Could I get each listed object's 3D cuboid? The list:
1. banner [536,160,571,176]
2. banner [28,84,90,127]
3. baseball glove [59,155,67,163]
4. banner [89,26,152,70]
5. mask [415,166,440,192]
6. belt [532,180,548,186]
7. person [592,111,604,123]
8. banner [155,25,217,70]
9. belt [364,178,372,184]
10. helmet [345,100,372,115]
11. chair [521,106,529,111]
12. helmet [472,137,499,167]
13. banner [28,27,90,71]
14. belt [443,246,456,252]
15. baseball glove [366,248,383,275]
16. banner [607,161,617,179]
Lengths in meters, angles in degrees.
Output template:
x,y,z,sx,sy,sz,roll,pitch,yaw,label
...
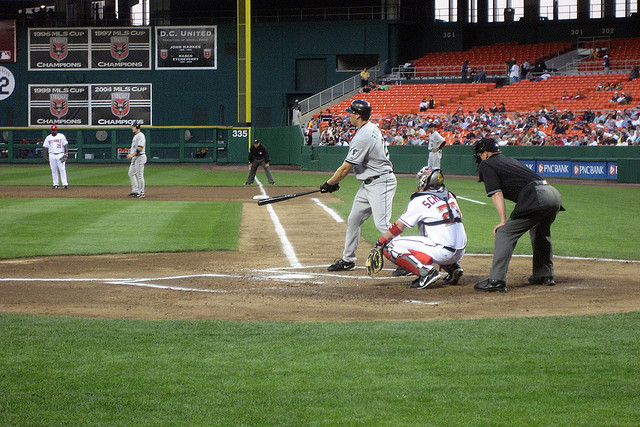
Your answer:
x,y,z,sx,sy,sz,roll,pitch,yaw,label
9.632,-1.887,36.490,0.268,0.675,1.556,-5,7,-41,banner
-15.695,-6.610,53.446,5.684,3.413,0.139,0,2,12,banner
-8.749,-1.879,29.980,0.264,0.164,0.343,-6,-4,-16,baseball glove
-12.119,-10.198,53.167,2.980,1.882,0.078,1,17,3,banner
2.027,-0.738,17.396,0.511,0.455,0.381,8,16,25,mask
4.200,-0.586,16.822,0.319,0.098,0.131,-5,7,-43,belt
11.931,-4.176,37.814,0.424,0.497,0.907,1,6,14,person
-8.245,-10.232,53.194,3.238,2.036,0.119,-1,19,-2,banner
0.971,-0.655,17.897,0.160,0.106,0.036,3,7,27,belt
0.803,-2.162,17.872,0.401,0.169,0.295,15,20,31,helmet
9.640,-4.988,41.530,0.257,0.143,0.248,0,1,7,chair
3.141,-1.252,17.219,0.638,0.517,0.507,4,10,26,helmet
-15.752,-10.179,53.496,3.029,1.914,0.030,1,8,9,banner
2.505,0.711,17.009,0.219,0.089,0.042,-2,6,-14,belt
1.078,0.964,17.563,0.326,0.572,0.407,0,6,2,baseball glove
11.615,-1.730,34.990,0.133,0.710,0.416,-4,7,-32,banner
